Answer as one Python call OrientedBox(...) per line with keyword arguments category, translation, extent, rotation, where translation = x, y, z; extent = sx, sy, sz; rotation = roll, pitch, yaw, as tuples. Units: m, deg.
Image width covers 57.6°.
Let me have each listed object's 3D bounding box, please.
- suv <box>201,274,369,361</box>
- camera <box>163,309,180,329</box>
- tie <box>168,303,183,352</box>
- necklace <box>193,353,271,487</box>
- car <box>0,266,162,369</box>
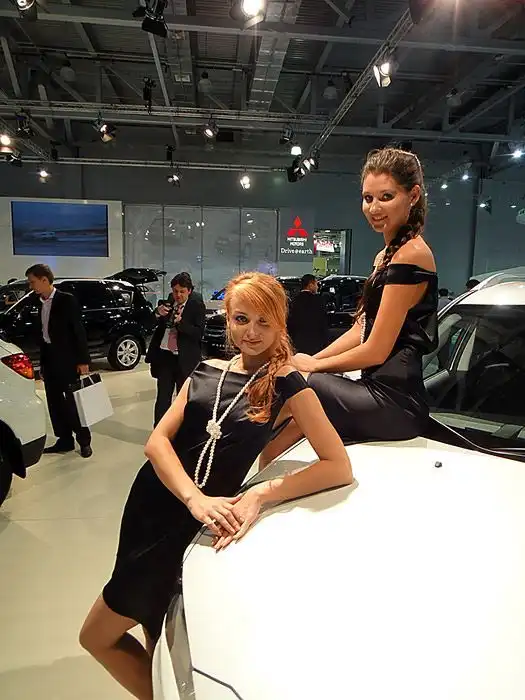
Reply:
OrientedBox(category="suv", translation=(0.449, -0.677, 8.494), extent=(2.778, 1.386, 1.522), rotation=(4, 4, -15))
OrientedBox(category="camera", translation=(-0.794, -0.265, 4.222), extent=(0.171, 0.163, 0.108), rotation=(7, -21, 10))
OrientedBox(category="tie", translation=(-0.771, -0.181, 4.252), extent=(0.098, 0.337, 0.247), rotation=(8, -8, -33))
OrientedBox(category="necklace", translation=(-0.101, 0.213, 1.284), extent=(0.120, 0.430, 0.051), rotation=(16, -11, 34))
OrientedBox(category="car", translation=(-2.633, -0.590, 8.355), extent=(3.372, 1.760, 1.540), rotation=(-1, 5, -29))
